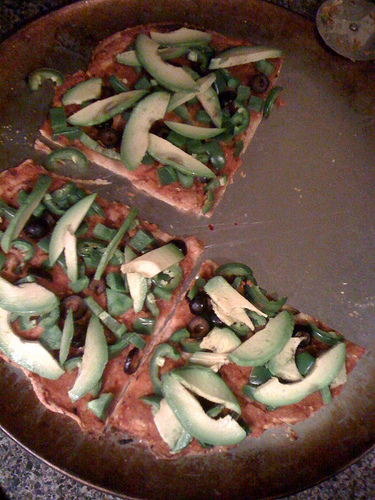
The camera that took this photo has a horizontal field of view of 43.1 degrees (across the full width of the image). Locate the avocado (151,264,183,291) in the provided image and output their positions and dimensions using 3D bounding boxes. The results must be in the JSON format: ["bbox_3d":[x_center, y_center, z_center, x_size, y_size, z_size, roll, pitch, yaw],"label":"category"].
[{"bbox_3d":[-0.119,0.181,3.059,0.159,0.128,0.176,3,51,20],"label":"avocado"}]

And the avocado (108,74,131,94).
[{"bbox_3d":[-0.437,-1.052,3.035,0.091,0.042,0.135,-36,90,14],"label":"avocado"}]

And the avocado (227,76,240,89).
[{"bbox_3d":[0.309,-1.107,3.133,0.063,0.071,0.044,0,40,0],"label":"avocado"}]

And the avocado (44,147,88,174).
[{"bbox_3d":[-0.773,-0.599,3.170,0.368,0.088,0.182,0,100,4],"label":"avocado"}]

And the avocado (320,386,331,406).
[{"bbox_3d":[0.926,0.971,3.164,0.085,0.035,0.120,1,103,8],"label":"avocado"}]

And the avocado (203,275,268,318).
[{"bbox_3d":[0.310,0.316,3.102,0.395,0.114,0.194,28,93,9],"label":"avocado"}]

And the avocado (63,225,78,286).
[{"bbox_3d":[-0.708,0.032,2.963,0.097,0.089,0.309,-1,98,5],"label":"avocado"}]

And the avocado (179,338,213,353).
[{"bbox_3d":[0.040,0.604,3.087,0.160,0.107,0.048,16,87,1],"label":"avocado"}]

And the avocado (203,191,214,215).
[{"bbox_3d":[0.134,-0.330,3.231,0.072,0.196,0.035,8,43,0],"label":"avocado"}]

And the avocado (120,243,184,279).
[{"bbox_3d":[-0.218,0.078,2.985,0.368,0.091,0.179,-32,61,-31],"label":"avocado"}]

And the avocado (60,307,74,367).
[{"bbox_3d":[-0.745,0.533,2.915,0.087,0.051,0.331,10,76,-2],"label":"avocado"}]

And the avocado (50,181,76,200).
[{"bbox_3d":[-0.781,-0.367,3.000,0.118,0.121,0.038,-35,99,-20],"label":"avocado"}]
